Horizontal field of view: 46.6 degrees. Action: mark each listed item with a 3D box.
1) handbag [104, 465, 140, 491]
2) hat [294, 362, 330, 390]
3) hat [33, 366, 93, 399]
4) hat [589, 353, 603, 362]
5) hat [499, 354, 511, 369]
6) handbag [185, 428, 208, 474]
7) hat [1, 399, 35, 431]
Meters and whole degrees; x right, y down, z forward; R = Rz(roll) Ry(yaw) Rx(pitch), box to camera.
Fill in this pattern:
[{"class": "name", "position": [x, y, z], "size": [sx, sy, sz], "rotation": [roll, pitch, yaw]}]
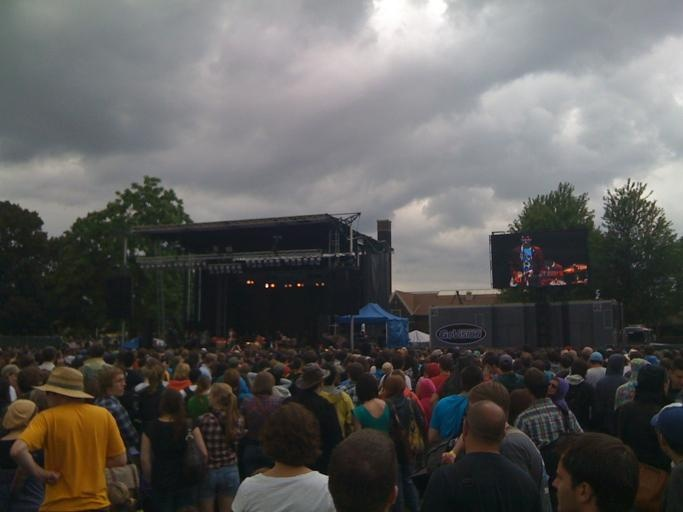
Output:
[{"class": "handbag", "position": [-2.430, 2.452, 8.776], "size": [0.382, 0.281, 0.113], "rotation": [6, -11, -43]}, {"class": "hat", "position": [-0.335, 1.426, 9.483], "size": [0.292, 0.124, 0.329], "rotation": [1, 11, 31]}, {"class": "hat", "position": [-2.933, 1.322, 8.346], "size": [0.597, 0.320, 0.629], "rotation": [7, -2, 18]}, {"class": "hat", "position": [4.159, 1.630, 12.884], "size": [0.142, 0.106, 0.213], "rotation": [1, 5, 25]}, {"class": "hat", "position": [2.235, 1.477, 11.046], "size": [0.175, 0.155, 0.281], "rotation": [7, 15, 6]}, {"class": "handbag", "position": [-1.698, 2.251, 9.126], "size": [0.237, 0.547, 0.418], "rotation": [-5, -18, 2]}, {"class": "hat", "position": [-3.516, 1.702, 8.519], "size": [0.221, 0.262, 0.368], "rotation": [41, -30, -29]}]
